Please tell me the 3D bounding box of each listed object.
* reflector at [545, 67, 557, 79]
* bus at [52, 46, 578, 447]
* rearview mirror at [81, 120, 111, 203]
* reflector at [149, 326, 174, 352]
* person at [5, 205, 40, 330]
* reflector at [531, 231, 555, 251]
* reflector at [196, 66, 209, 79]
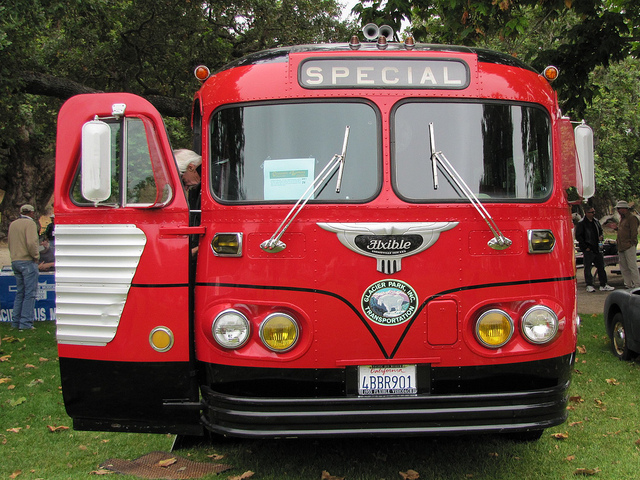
[{"bbox_3d":[2.290,-1.625,5.978,0.183,0.107,0.094,-6,8,-34],"label":"reflector"},{"bbox_3d":[-0.111,0.058,7.388,3.075,2.500,4.589,-1,-1,-4],"label":"bus"},{"bbox_3d":[-1.859,-0.666,5.146,0.194,0.655,0.248,-4,8,-11],"label":"rearview mirror"},{"bbox_3d":[-1.408,0.876,5.437,0.179,0.190,0.027,17,6,4],"label":"reflector"},{"bbox_3d":[-5.711,0.539,11.698,0.542,2.406,1.007,-4,7,-26],"label":"person"},{"bbox_3d":[1.987,0.008,5.434,0.243,0.170,0.067,-5,7,-28],"label":"reflector"},{"bbox_3d":[-1.172,-1.652,6.072,0.118,0.123,0.077,-3,6,-12],"label":"reflector"}]
